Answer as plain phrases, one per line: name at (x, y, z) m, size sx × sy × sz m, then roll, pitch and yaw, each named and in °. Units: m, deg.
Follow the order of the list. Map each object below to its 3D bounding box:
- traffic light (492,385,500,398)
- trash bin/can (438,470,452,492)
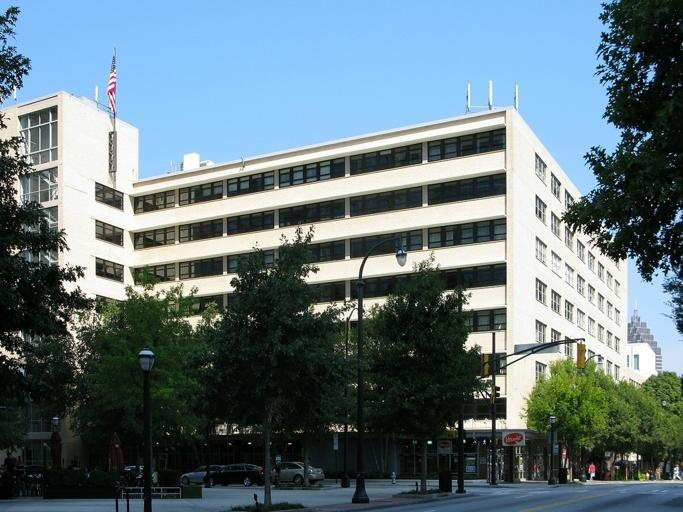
traffic light at (11.219, 9.995, 107.482) m, size 0.476 × 1.065 × 1.978 m, roll -3°, pitch -16°, yaw 8°
trash bin/can at (6.978, 15.392, 99.429) m, size 0.814 × 1.428 × 0.579 m, roll 1°, pitch -14°, yaw -7°
